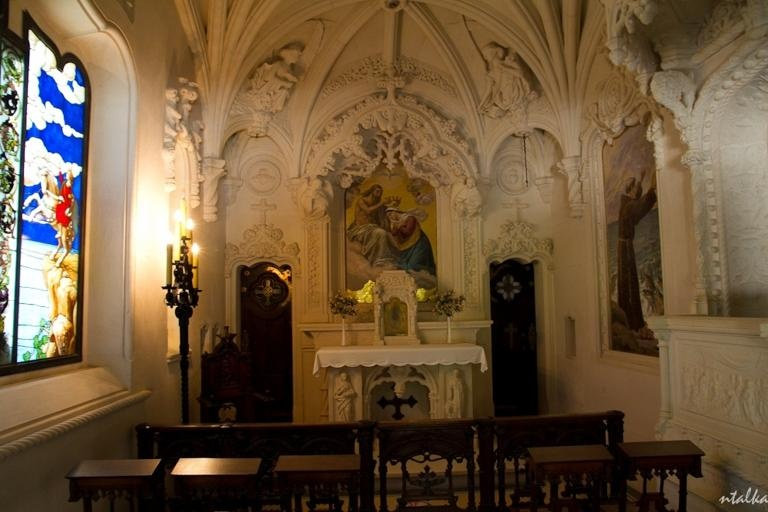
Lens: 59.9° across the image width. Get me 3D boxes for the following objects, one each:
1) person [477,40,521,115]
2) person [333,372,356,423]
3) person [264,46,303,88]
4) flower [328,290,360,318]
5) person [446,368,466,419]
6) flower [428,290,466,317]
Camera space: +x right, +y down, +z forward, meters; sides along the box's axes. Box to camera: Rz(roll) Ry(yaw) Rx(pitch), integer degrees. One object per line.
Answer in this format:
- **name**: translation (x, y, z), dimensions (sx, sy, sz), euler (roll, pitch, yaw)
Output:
- **person**: translation (2.243, -3.309, 12.675), dimensions (0.806, 1.170, 0.825), euler (-1, -7, 9)
- **person**: translation (-0.657, 2.328, 11.020), dimensions (0.347, 0.763, 0.198), euler (1, -8, -3)
- **person**: translation (-1.925, -3.578, 12.537), dimensions (0.705, 0.662, 0.461), euler (2, -8, -18)
- **flower**: translation (-0.802, 0.919, 12.539), dimensions (0.509, 0.563, 0.537), euler (-2, -14, 29)
- **person**: translation (1.196, 2.288, 11.215), dimensions (0.333, 0.802, 0.275), euler (0, -7, -2)
- **flower**: translation (1.148, 0.932, 12.559), dimensions (0.535, 0.397, 0.564), euler (-8, -12, 43)
